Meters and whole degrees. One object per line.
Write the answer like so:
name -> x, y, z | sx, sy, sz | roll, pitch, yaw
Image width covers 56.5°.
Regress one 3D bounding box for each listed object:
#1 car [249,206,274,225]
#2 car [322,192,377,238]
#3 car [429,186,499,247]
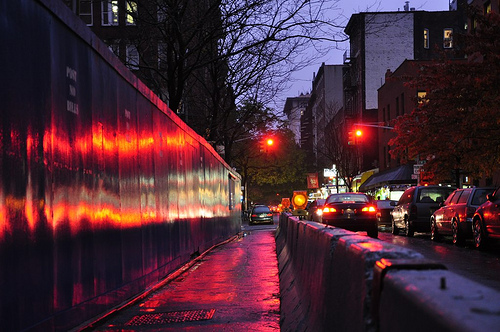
car -> 1.296, 5.805, 54.939 | 2.670, 2.176, 1.194 | -1, -3, 9
car -> 4.840, 2.395, 22.474 | 2.456, 1.966, 1.658 | -1, -3, 16
car -> 8.517, 1.861, 18.838 | 1.491, 1.314, 3.348 | 0, -2, 0
